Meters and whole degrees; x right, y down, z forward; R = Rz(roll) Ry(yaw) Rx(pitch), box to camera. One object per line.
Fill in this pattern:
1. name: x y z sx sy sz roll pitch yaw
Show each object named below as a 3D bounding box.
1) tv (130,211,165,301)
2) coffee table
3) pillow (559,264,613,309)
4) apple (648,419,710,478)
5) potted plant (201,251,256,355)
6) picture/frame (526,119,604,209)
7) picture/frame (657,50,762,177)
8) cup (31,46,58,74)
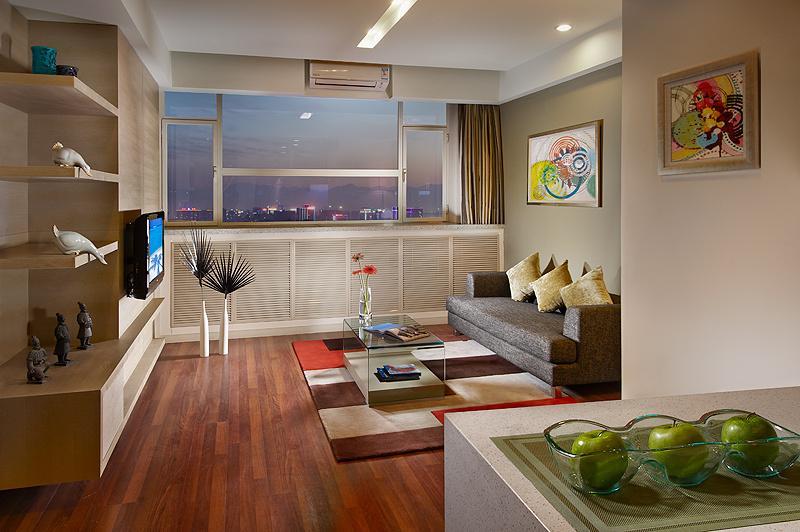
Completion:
1. tv: -2.253 -0.139 4.479 0.132 0.706 0.984 0 6 -18
2. coffee table: -0.046 0.902 4.550 0.615 0.487 1.111 -1 6 -17
3. pillow: 1.844 0.233 4.937 0.149 0.448 0.482 14 -34 -37
4. apple: 0.760 0.493 1.373 0.143 0.157 0.136 -1 -9 -37
5. potted plant: -2.027 0.404 5.879 0.580 1.081 0.767 -2 9 -9
6. picture/frame: 1.904 -1.168 5.895 1.348 0.891 0.057 -12 13 -32
7. picture/frame: 1.731 -0.829 2.824 0.607 0.584 0.047 -9 13 -7
8. cup: -2.190 -1.261 3.078 0.125 0.209 0.275 -7 11 -34
